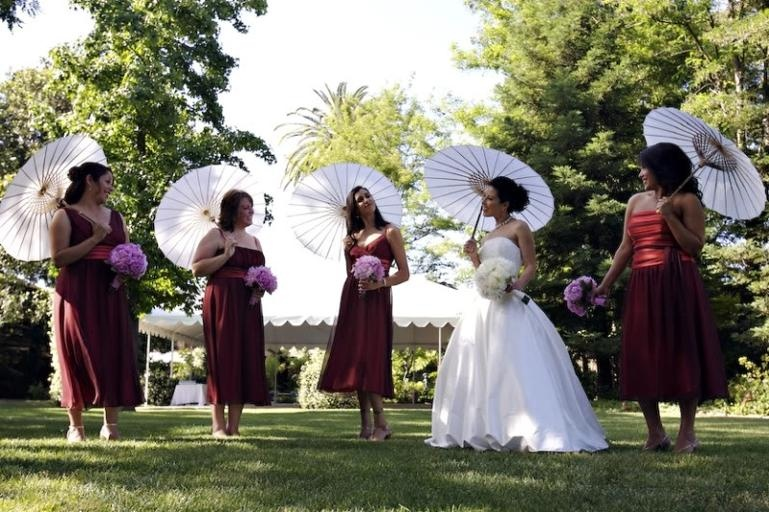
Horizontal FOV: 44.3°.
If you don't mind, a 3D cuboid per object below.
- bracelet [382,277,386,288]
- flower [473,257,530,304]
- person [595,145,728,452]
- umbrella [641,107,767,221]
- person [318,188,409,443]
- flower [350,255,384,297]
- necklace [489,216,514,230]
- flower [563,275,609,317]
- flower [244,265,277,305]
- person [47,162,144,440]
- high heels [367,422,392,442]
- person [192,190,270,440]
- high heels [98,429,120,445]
[{"bbox_3d":[-0.019,0.434,14.789,0.038,0.107,0.092,4,8,1],"label":"bracelet"},{"bbox_3d":[1.715,0.389,13.960,0.697,0.520,0.606,27,-4,-1],"label":"flower"},{"bbox_3d":[4.075,0.589,13.636,1.548,4.398,0.991,2,8,19],"label":"person"},{"bbox_3d":[4.754,-1.367,13.800,0.661,1.633,1.672,-46,13,-32],"label":"umbrella"},{"bbox_3d":[-0.279,0.868,15.000,1.130,3.895,1.291,4,8,28],"label":"person"},{"bbox_3d":[-0.261,0.304,14.652,0.511,0.524,0.503,8,-16,-11],"label":"flower"},{"bbox_3d":[1.791,-0.500,14.458,0.245,0.038,0.200,-33,11,20],"label":"necklace"},{"bbox_3d":[2.989,0.578,14.519,0.616,0.620,0.577,23,-41,-9],"label":"flower"},{"bbox_3d":[-1.944,0.428,15.051,0.537,0.582,0.558,3,13,5],"label":"flower"},{"bbox_3d":[-4.384,0.670,14.168,1.193,4.100,0.948,-2,8,-15],"label":"person"},{"bbox_3d":[-0.125,2.771,14.713,0.181,0.178,0.348,-14,-17,38],"label":"high heels"},{"bbox_3d":[-2.418,0.898,14.808,1.070,3.814,0.919,-3,8,-18],"label":"person"},{"bbox_3d":[-4.160,2.707,14.159,0.230,0.177,0.172,-1,-6,40],"label":"high heels"}]
